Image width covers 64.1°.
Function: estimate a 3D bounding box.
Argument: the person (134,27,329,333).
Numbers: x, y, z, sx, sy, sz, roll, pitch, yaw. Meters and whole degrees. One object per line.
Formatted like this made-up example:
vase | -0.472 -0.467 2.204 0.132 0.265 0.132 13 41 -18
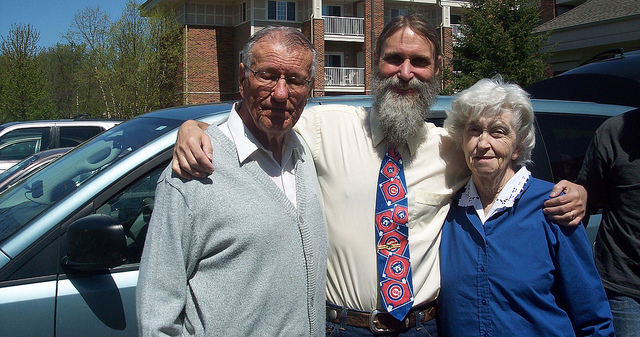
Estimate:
person | -0.673 0.120 4.286 1.537 2.550 0.767 0 11 -8
